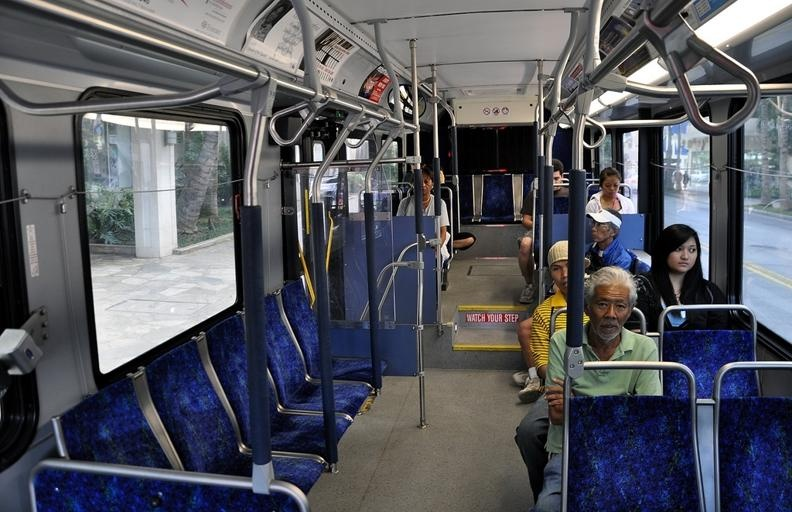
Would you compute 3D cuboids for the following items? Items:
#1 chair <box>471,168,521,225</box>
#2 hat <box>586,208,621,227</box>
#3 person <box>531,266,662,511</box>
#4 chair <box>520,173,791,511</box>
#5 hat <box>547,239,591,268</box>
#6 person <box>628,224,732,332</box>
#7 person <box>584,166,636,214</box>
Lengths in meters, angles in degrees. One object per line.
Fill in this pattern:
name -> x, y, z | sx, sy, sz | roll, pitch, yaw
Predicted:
chair -> 2.191, -1.338, 11.838 | 1.323, 1.182, 1.045 | 1, 4, 5
hat -> 2.273, -0.412, 5.727 | 0.346, 0.122, 0.219 | 13, 7, -8
person -> 1.196, 0.785, 3.141 | 0.671, 1.316, 1.072 | 4, 13, 27
chair -> 2.236, 0.550, 4.384 | 2.556, 2.404, 1.386 | -2, 6, 6
hat -> 1.225, -0.010, 3.833 | 0.275, 0.304, 0.369 | 1, 11, 9
person -> 2.478, 0.214, 4.544 | 1.053, 1.074, 0.596 | 0, 1, 9
person -> 2.929, -0.844, 7.300 | 0.748, 0.674, 0.379 | -2, 6, -3
